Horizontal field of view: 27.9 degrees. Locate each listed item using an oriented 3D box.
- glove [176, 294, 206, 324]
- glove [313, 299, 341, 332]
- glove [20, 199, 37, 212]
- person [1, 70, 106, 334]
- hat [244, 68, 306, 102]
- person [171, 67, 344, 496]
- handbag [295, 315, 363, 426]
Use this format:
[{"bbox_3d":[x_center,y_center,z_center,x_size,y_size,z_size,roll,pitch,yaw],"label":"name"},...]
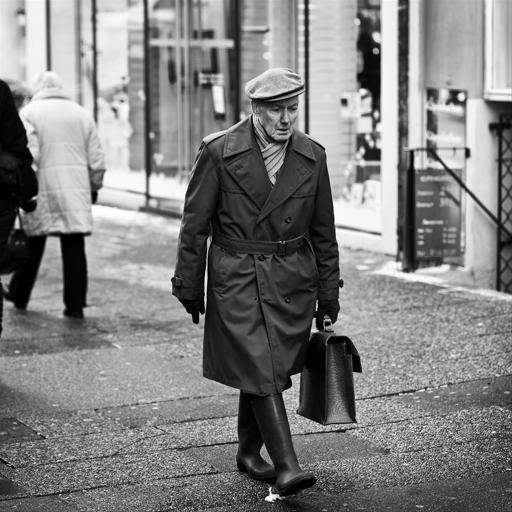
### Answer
[{"bbox_3d":[-0.284,0.240,4.740,0.085,0.158,0.057,4,-5,-19],"label":"glove"},{"bbox_3d":[0.330,0.279,4.898,0.095,0.151,0.146,2,2,-4],"label":"glove"},{"bbox_3d":[-1.364,-0.299,6.153,0.073,0.081,0.078,2,20,-12],"label":"glove"},{"bbox_3d":[-1.532,-0.441,7.935,0.731,1.912,0.622,-1,7,-5],"label":"person"},{"bbox_3d":[0.094,-0.772,4.616,0.245,0.107,0.303,-11,19,-12],"label":"hat"},{"bbox_3d":[0.013,0.066,4.771,0.632,1.827,0.634,3,8,26],"label":"person"},{"bbox_3d":[0.345,0.513,4.898,0.166,0.485,0.479,0,1,-9],"label":"handbag"}]
